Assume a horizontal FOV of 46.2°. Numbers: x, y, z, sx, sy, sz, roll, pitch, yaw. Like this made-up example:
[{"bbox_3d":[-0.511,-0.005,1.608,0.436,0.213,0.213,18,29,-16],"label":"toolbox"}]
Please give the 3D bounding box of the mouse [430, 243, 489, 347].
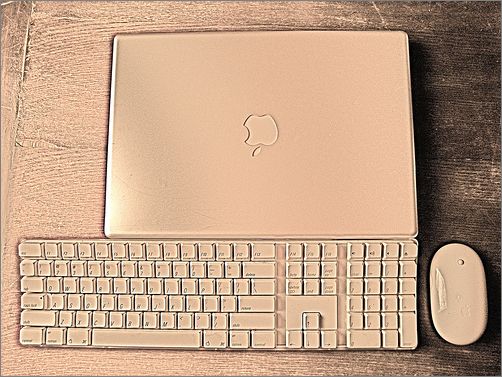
[{"bbox_3d":[0.453,0.224,1.281,0.117,0.034,0.225,3,85,5],"label":"mouse"}]
